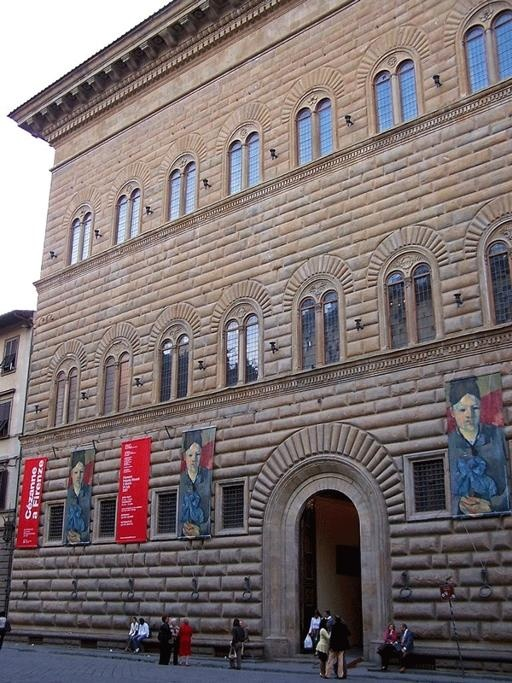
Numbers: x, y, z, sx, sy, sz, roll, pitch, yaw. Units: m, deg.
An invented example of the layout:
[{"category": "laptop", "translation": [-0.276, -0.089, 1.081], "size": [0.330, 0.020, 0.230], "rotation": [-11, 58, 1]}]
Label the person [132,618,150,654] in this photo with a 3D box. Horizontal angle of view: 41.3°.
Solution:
[{"category": "person", "translation": [-2.736, 6.982, 16.148], "size": [0.384, 0.752, 0.264], "rotation": [0, -22, -2]}]

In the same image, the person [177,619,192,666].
[{"category": "person", "translation": [-1.504, 6.252, 14.173], "size": [0.271, 0.872, 0.708], "rotation": [1, -23, -7]}]

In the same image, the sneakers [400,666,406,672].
[{"category": "sneakers", "translation": [2.384, 5.340, 11.068], "size": [0.065, 0.061, 0.110], "rotation": [2, 16, 3]}]

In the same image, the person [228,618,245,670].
[{"category": "person", "translation": [-0.369, 5.879, 13.231], "size": [0.319, 0.869, 0.818], "rotation": [0, -23, -2]}]

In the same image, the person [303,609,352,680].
[{"category": "person", "translation": [1.227, 4.923, 10.966], "size": [0.485, 0.897, 1.162], "rotation": [0, -23, -3]}]
